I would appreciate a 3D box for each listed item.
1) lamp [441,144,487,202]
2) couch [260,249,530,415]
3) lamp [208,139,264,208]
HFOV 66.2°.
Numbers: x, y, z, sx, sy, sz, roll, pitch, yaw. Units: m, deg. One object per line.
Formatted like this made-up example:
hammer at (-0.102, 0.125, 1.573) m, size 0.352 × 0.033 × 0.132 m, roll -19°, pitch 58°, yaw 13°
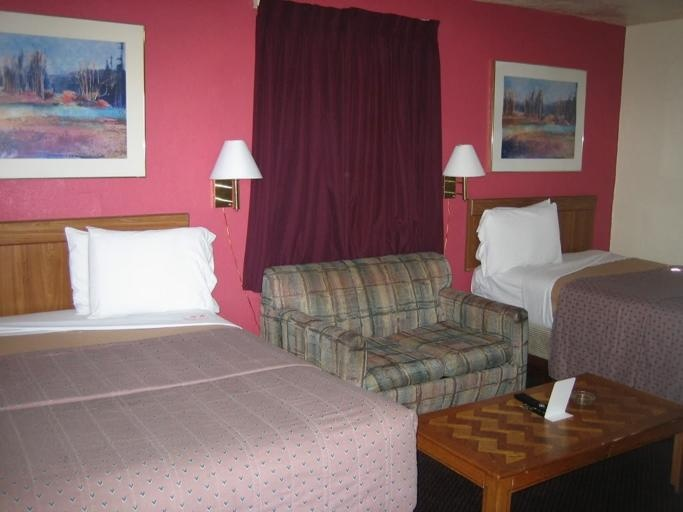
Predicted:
lamp at (1.200, -0.845, 5.235) m, size 0.370 × 0.570 × 0.559 m, roll -1°, pitch 9°, yaw 8°
couch at (0.427, 0.578, 4.008) m, size 1.698 × 1.070 × 1.201 m, roll 0°, pitch 1°, yaw -28°
lamp at (-0.856, -0.647, 4.196) m, size 0.372 × 0.555 × 0.385 m, roll -5°, pitch 9°, yaw -21°
